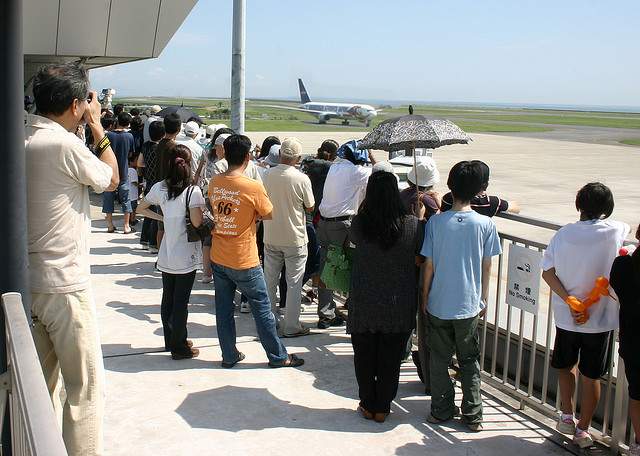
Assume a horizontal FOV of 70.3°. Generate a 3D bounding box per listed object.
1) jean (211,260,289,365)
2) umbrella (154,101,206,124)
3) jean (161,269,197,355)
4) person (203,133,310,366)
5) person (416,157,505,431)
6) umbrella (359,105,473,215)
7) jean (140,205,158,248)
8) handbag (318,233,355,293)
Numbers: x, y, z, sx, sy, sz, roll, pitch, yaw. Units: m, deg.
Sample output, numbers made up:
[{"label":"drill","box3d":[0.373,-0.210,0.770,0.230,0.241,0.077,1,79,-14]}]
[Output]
[{"label":"jean","box3d":[-0.746,0.765,4.718,0.720,1.620,0.420,3,24,8]},{"label":"umbrella","box3d":[-3.732,-3.107,11.907,1.302,0.509,1.485,11,11,-5]},{"label":"jean","box3d":[-1.536,0.896,4.946,0.389,0.951,0.240,0,11,-9]},{"label":"person","box3d":[-0.853,0.172,5.228,0.857,2.452,1.559,-1,11,-15]},{"label":"person","box3d":[1.158,0.564,3.955,0.660,2.260,0.408,6,11,23]},{"label":"umbrella","box3d":[1.027,-0.695,5.008,1.159,1.285,1.223,1,5,34]},{"label":"jean","box3d":[-3.289,-0.049,8.824,0.237,0.871,0.886,-5,13,-32]},{"label":"handbag","box3d":[0.182,0.445,4.961,0.345,0.502,0.194,3,11,3]}]
